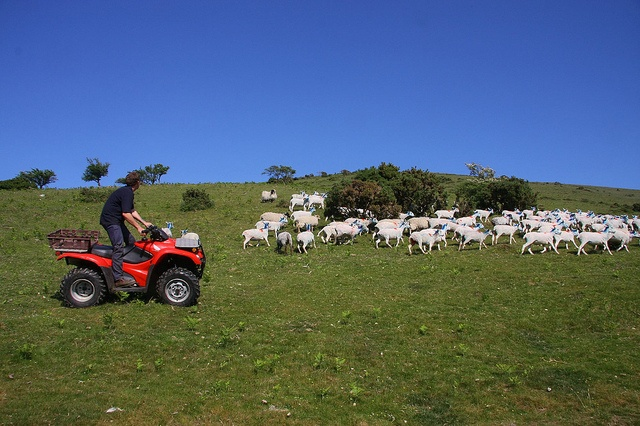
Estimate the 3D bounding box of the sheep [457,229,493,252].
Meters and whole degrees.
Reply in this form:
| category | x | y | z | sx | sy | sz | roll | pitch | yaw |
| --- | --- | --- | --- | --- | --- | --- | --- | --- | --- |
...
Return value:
| category | x | y | z | sx | sy | sz | roll | pitch | yaw |
| --- | --- | --- | --- | --- | --- | --- | --- | --- | --- |
| sheep | 10.404 | 1.808 | 29.314 | 2.392 | 1.371 | 1.408 | -6 | 15 | -26 |

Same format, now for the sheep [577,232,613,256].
| category | x | y | z | sx | sy | sz | roll | pitch | yaw |
| --- | --- | --- | --- | --- | --- | --- | --- | --- | --- |
| sheep | 17.534 | 1.897 | 27.282 | 2.749 | 1.284 | 1.396 | -3 | 13 | -14 |

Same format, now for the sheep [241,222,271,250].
| category | x | y | z | sx | sy | sz | roll | pitch | yaw |
| --- | --- | --- | --- | --- | --- | --- | --- | --- | --- |
| sheep | -4.643 | 1.688 | 30.187 | 2.080 | 1.278 | 1.893 | -5 | 14 | -22 |

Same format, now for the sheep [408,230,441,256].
| category | x | y | z | sx | sy | sz | roll | pitch | yaw |
| --- | --- | --- | --- | --- | --- | --- | --- | --- | --- |
| sheep | 7.003 | 1.946 | 28.930 | 2.272 | 1.475 | 1.530 | -2 | 13 | -11 |

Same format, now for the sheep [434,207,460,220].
| category | x | y | z | sx | sy | sz | roll | pitch | yaw |
| --- | --- | --- | --- | --- | --- | --- | --- | --- | --- |
| sheep | 10.474 | 0.065 | 36.380 | 2.599 | 1.396 | 0.850 | 2 | 1 | 5 |

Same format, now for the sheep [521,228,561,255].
| category | x | y | z | sx | sy | sz | roll | pitch | yaw |
| --- | --- | --- | --- | --- | --- | --- | --- | --- | --- |
| sheep | 14.354 | 1.905 | 27.909 | 2.297 | 1.368 | 2.097 | 4 | 13 | 16 |

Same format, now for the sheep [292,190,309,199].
| category | x | y | z | sx | sy | sz | roll | pitch | yaw |
| --- | --- | --- | --- | --- | --- | --- | --- | --- | --- |
| sheep | -1.902 | -1.839 | 42.954 | 1.937 | 1.027 | 0.907 | 0 | 7 | -9 |

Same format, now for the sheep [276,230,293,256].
| category | x | y | z | sx | sy | sz | roll | pitch | yaw |
| --- | --- | --- | --- | --- | --- | --- | --- | --- | --- |
| sheep | -2.416 | 1.966 | 28.616 | 0.966 | 1.381 | 1.520 | -2 | 13 | -12 |

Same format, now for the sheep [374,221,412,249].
| category | x | y | z | sx | sy | sz | roll | pitch | yaw |
| --- | --- | --- | --- | --- | --- | --- | --- | --- | --- |
| sheep | 4.951 | 1.553 | 30.732 | 2.558 | 1.649 | 1.435 | -9 | 16 | -35 |

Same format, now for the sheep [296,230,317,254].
| category | x | y | z | sx | sy | sz | roll | pitch | yaw |
| --- | --- | --- | --- | --- | --- | --- | --- | --- | --- |
| sheep | -0.944 | 1.923 | 29.420 | 0.976 | 1.352 | 2.250 | 4 | 13 | 12 |
